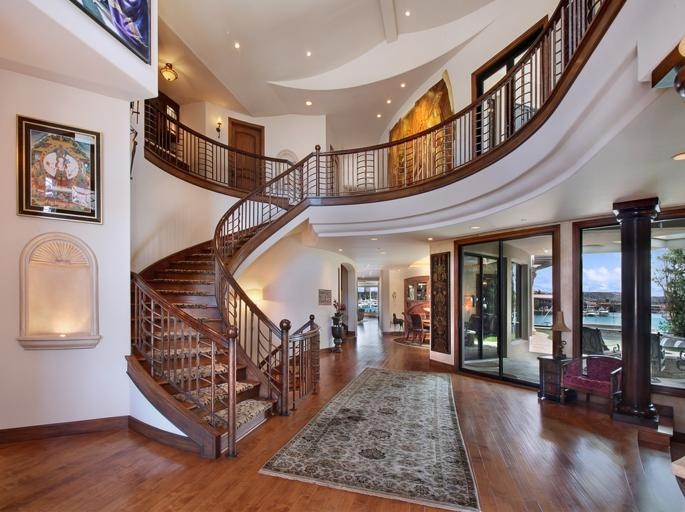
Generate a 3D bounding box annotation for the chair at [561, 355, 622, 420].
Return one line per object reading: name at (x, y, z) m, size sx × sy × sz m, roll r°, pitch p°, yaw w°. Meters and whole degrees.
chair at (3.816, 1.921, 6.850) m, size 0.517 × 0.862 × 0.774 m, roll 11°, pitch -7°, yaw -34°

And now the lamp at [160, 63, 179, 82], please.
lamp at (-3.657, -3.836, 9.554) m, size 0.306 × 0.321 × 0.309 m, roll 7°, pitch -15°, yaw -38°

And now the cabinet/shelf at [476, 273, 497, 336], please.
cabinet/shelf at (2.814, 1.089, 8.922) m, size 0.405 × 1.859 × 0.195 m, roll 7°, pitch 39°, yaw 24°

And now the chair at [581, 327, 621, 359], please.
chair at (4.034, 1.355, 7.106) m, size 0.404 × 0.557 × 0.359 m, roll 2°, pitch -2°, yaw -19°

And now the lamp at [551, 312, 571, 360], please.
lamp at (3.510, 1.236, 7.298) m, size 0.259 × 0.714 × 0.484 m, roll 5°, pitch 9°, yaw 26°

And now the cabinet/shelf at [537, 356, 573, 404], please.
cabinet/shelf at (3.385, 1.959, 7.262) m, size 0.540 × 0.662 × 0.579 m, roll 1°, pitch 0°, yaw -7°

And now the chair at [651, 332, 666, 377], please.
chair at (4.474, 1.398, 6.423) m, size 0.147 × 0.606 × 0.151 m, roll 3°, pitch 8°, yaw 12°

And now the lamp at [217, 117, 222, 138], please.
lamp at (-3.012, -3.087, 10.959) m, size 0.120 × 0.480 × 0.230 m, roll 2°, pitch 8°, yaw 8°
